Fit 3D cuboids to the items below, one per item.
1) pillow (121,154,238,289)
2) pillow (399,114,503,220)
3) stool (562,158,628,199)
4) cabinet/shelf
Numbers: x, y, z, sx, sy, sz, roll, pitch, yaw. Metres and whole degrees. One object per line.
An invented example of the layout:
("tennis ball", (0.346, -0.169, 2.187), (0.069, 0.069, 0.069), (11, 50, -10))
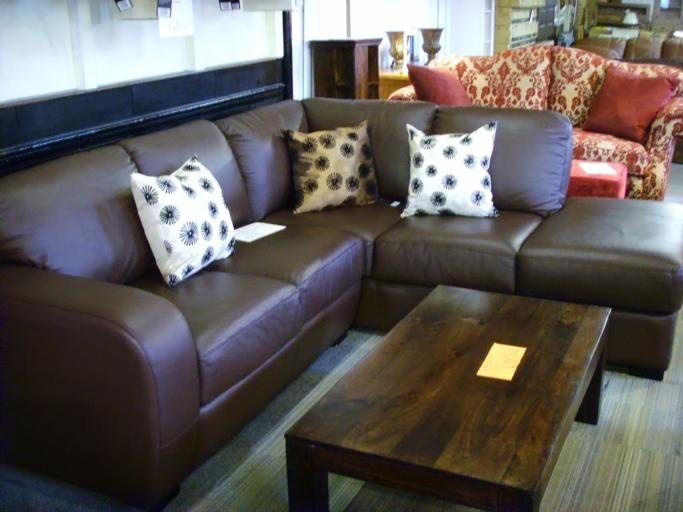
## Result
("pillow", (-0.650, -0.151, 2.277), (0.235, 0.444, 0.490), (8, 21, 15))
("pillow", (0.601, -0.460, 2.823), (0.491, 0.520, 0.265), (1, 23, 13))
("stool", (1.686, -0.508, 3.496), (0.359, 0.269, 0.380), (6, 15, 23))
("cabinet/shelf", (0.062, -1.551, 4.607), (0.428, 0.650, 0.638), (5, 22, 18))
